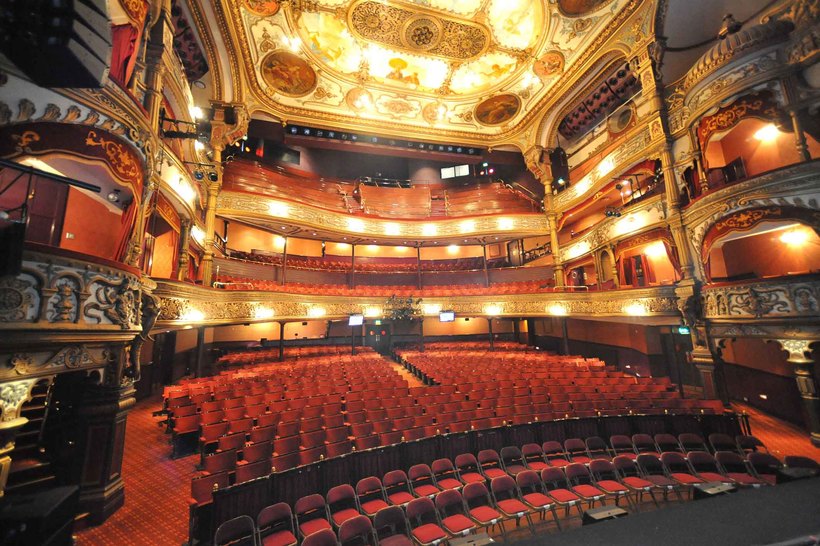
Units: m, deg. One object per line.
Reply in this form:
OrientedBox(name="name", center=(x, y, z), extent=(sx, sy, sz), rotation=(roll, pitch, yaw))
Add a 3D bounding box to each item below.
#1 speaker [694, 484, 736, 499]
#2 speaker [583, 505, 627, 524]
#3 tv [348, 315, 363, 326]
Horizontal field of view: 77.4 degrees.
OrientedBox(name="speaker", center=(6.187, 4.443, 10.430), extent=(0.719, 0.335, 0.655), rotation=(-1, -17, 1))
OrientedBox(name="speaker", center=(3.882, 4.784, 10.100), extent=(0.832, 0.299, 0.534), rotation=(1, -10, -20))
OrientedBox(name="tv", center=(-2.340, 1.888, 20.820), extent=(0.724, 0.426, 0.154), rotation=(0, 21, -32))
